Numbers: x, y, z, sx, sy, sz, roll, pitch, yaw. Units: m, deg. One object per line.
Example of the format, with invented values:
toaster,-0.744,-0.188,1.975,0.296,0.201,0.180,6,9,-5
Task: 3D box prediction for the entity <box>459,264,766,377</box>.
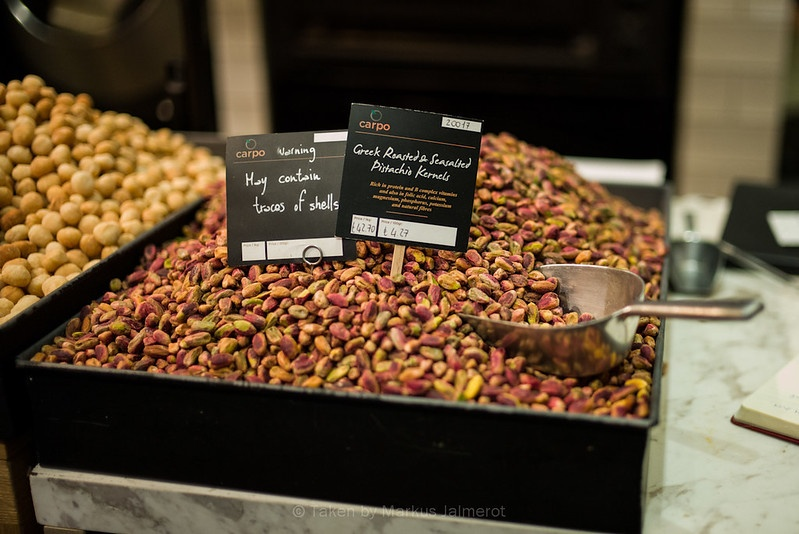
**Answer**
entity,0.517,0.059,1.658,0.526,0.176,0.326,2,15,24
